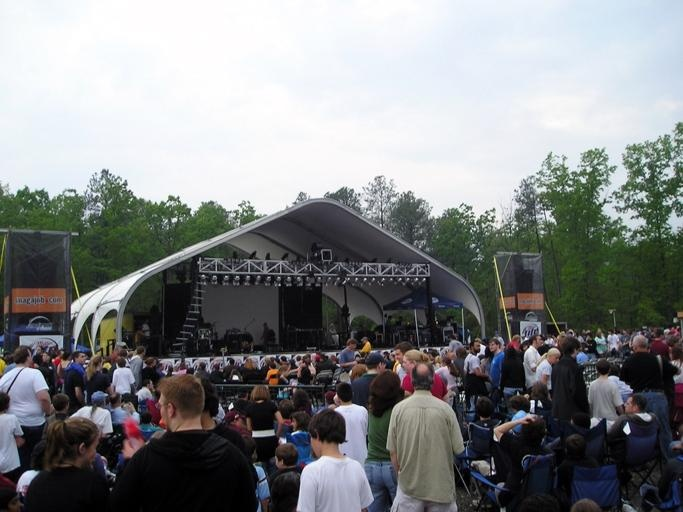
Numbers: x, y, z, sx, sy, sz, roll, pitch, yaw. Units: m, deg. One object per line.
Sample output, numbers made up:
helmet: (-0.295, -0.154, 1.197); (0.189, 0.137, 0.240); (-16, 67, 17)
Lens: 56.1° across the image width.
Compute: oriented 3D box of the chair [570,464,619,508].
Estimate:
chair: (2.767, 2.501, 6.923); (0.704, 0.500, 0.251); (7, -10, -39)

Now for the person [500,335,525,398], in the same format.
person: (2.894, 1.962, 10.889); (0.405, 0.869, 0.412); (-2, -8, 15)

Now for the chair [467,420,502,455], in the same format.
chair: (1.812, 2.304, 8.210); (0.408, 0.534, 0.421); (0, -8, 3)

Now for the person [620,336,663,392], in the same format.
person: (4.382, 1.570, 9.379); (0.536, 0.806, 0.384); (-4, -9, 24)

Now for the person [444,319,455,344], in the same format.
person: (4.466, 3.128, 26.624); (0.384, 0.716, 1.294); (-2, -4, 3)

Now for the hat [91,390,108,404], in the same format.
hat: (-3.128, 1.804, 8.266); (0.220, 0.139, 0.360); (-1, -2, -9)

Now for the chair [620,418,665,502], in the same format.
chair: (3.963, 2.655, 8.478); (0.500, 0.991, 1.875); (-4, -9, 25)
